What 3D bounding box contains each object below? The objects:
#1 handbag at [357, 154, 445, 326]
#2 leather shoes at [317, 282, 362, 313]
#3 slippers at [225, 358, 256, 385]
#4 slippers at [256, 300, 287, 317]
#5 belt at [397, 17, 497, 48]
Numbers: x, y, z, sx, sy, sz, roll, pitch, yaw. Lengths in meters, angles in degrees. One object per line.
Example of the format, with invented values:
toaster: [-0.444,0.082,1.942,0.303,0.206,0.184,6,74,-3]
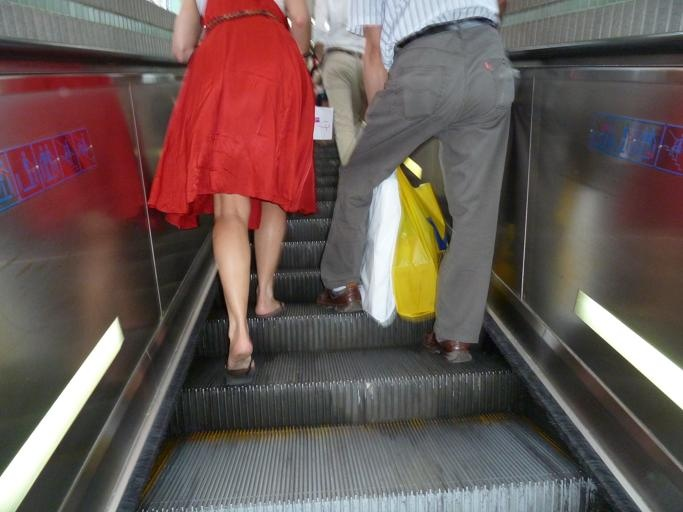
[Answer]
handbag: [0.357,-0.283,2.283,0.259,0.534,0.559,-11,31,16]
leather shoes: [-0.012,0.201,2.301,0.101,0.138,0.252,-4,13,-31]
slippers: [-0.428,0.497,1.879,0.130,0.048,0.142,-5,13,-16]
slippers: [-0.339,0.284,2.230,0.117,0.033,0.059,-31,40,-29]
belt: [0.442,-0.921,1.815,0.427,0.089,0.121,0,12,3]
